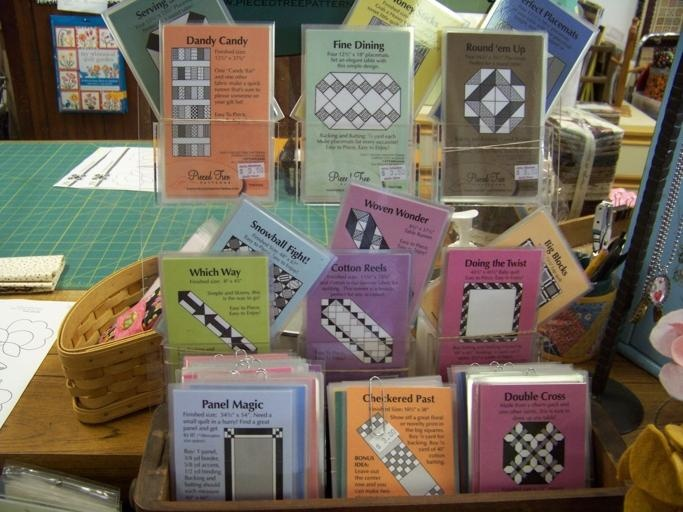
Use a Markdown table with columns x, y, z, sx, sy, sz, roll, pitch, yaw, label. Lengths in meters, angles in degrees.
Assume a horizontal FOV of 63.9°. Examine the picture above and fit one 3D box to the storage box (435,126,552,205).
| x | y | z | sx | sy | sz | roll | pitch | yaw | label |
| --- | --- | --- | --- | --- | --- | --- | --- | --- | --- |
| 0.334 | -0.198 | 1.169 | 0.233 | 0.169 | 0.127 | 4 | 12 | 34 | storage box |
